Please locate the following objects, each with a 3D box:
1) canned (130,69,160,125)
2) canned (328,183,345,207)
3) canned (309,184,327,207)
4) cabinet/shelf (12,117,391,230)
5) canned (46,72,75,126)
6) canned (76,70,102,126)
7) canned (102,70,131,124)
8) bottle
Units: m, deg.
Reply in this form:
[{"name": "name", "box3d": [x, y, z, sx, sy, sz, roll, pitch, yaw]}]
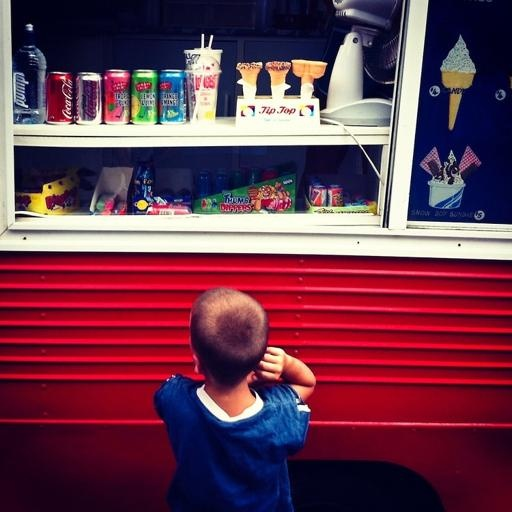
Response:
[{"name": "canned", "box3d": [-0.440, -0.631, 2.318, 0.105, 0.215, 0.074, 6, 17, 22]}, {"name": "canned", "box3d": [0.337, -0.253, 2.496, 0.072, 0.131, 0.076, -2, 8, 0]}, {"name": "canned", "box3d": [0.270, -0.266, 2.512, 0.077, 0.098, 0.084, 5, 15, 13]}, {"name": "cabinet/shelf", "box3d": [-0.260, -0.345, 2.757, 1.610, 0.421, 0.902, 0, 3, -4]}, {"name": "canned", "box3d": [-0.767, -0.616, 2.304, 0.097, 0.196, 0.047, 0, 13, -15]}, {"name": "canned", "box3d": [-0.656, -0.616, 2.313, 0.095, 0.197, 0.050, 2, 12, -6]}, {"name": "canned", "box3d": [-0.546, -0.622, 2.311, 0.092, 0.205, 0.037, 3, 12, 1]}, {"name": "bottle", "box3d": [-0.887, -0.714, 2.346, 0.115, 0.402, 0.109, 2, 19, -1]}]
